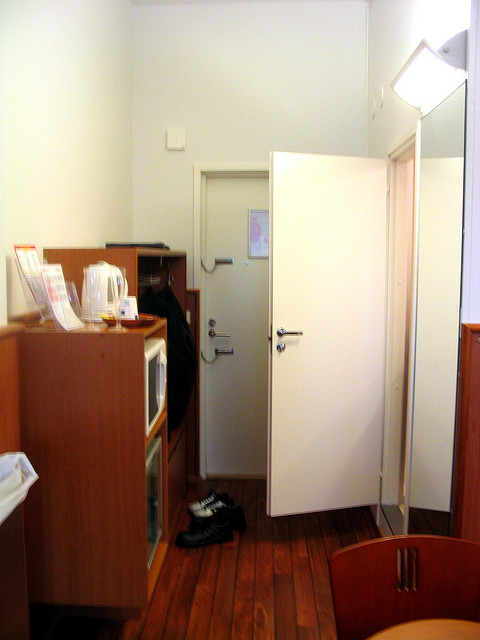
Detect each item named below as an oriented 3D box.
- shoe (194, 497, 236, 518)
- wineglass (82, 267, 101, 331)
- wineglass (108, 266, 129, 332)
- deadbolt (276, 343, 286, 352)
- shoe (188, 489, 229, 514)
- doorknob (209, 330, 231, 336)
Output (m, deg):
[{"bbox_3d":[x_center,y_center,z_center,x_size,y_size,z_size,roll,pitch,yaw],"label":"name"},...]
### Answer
[{"bbox_3d":[-0.143,1.020,2.757,0.227,0.126,0.080,16,-13,-39],"label":"shoe"},{"bbox_3d":[-0.532,-0.084,1.819,0.049,0.212,0.095,-1,3,-22],"label":"wineglass"},{"bbox_3d":[-0.428,-0.080,1.776,0.069,0.221,0.252,-1,3,-14],"label":"wineglass"},{"bbox_3d":[0.203,0.137,2.511,0.048,0.045,0.015,0,3,-4],"label":"deadbolt"},{"bbox_3d":[-0.176,1.022,2.845,0.089,0.138,0.262,33,8,26],"label":"shoe"},{"bbox_3d":[-0.136,0.089,3.335,0.136,0.029,0.030,1,3,10],"label":"doorknob"}]
